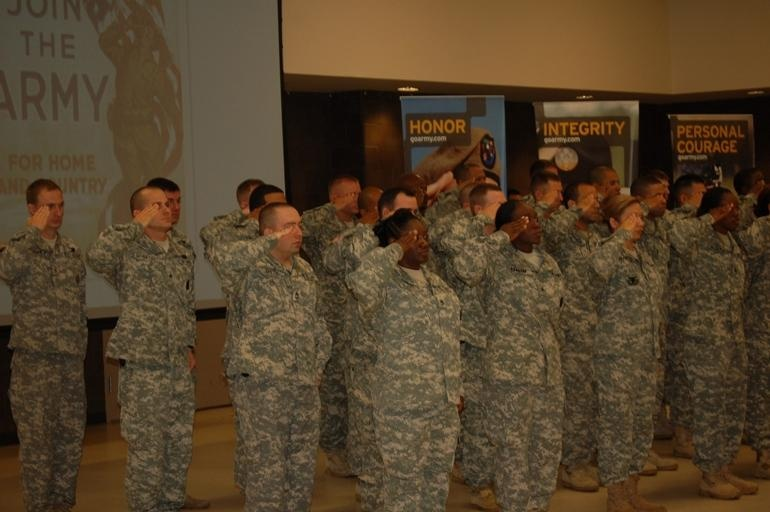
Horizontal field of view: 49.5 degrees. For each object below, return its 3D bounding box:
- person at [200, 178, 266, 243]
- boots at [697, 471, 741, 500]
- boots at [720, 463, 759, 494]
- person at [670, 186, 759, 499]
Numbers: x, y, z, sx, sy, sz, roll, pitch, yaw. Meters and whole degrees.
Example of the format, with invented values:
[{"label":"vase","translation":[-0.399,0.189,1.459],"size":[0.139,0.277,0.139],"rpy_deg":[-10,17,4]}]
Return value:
[{"label":"person","translation":[-1.256,-0.341,7.361],"size":[0.441,0.650,0.893],"rpy_deg":[-4,-6,-2]},{"label":"boots","translation":[2.856,1.941,7.126],"size":[0.310,0.181,0.196],"rpy_deg":[-4,-1,26]},{"label":"boots","translation":[3.022,1.945,7.344],"size":[0.452,0.289,0.148],"rpy_deg":[-3,-1,15]},{"label":"person","translation":[2.983,0.717,7.413],"size":[0.821,2.625,0.846],"rpy_deg":[-1,2,23]}]
